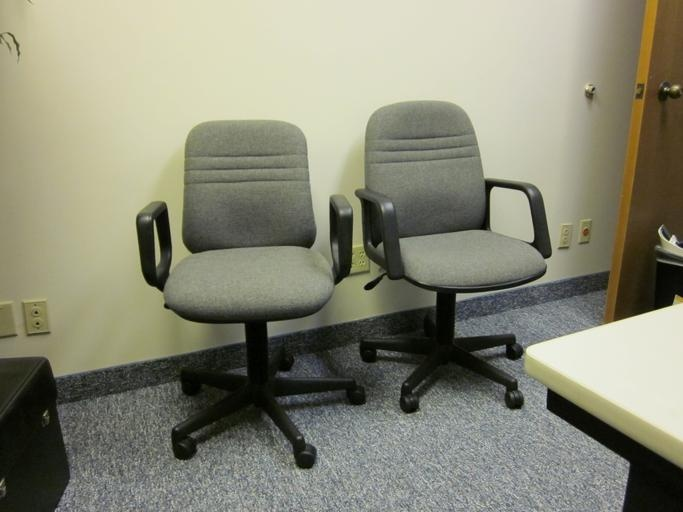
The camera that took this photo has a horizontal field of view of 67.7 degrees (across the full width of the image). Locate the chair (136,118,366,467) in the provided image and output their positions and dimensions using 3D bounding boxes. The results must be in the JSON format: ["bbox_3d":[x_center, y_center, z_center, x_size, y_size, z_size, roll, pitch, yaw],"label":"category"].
[{"bbox_3d":[-0.312,0.064,1.845,0.666,1.109,0.697,5,13,22],"label":"chair"}]

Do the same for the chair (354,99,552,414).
[{"bbox_3d":[0.427,-0.039,2.007,0.644,1.140,0.665,-7,15,-18],"label":"chair"}]
